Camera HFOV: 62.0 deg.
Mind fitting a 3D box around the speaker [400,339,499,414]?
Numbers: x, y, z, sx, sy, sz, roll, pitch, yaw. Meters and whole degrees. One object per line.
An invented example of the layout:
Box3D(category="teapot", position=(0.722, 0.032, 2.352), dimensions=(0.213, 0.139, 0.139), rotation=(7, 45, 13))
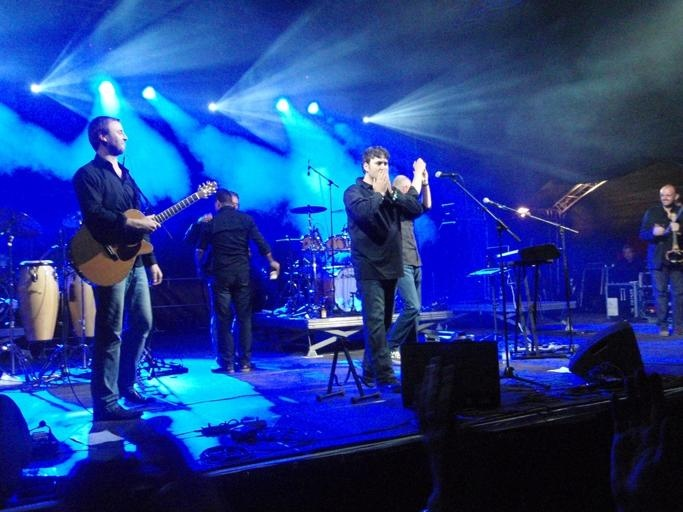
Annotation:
Box3D(category="speaker", position=(0.875, 0.937, 4.684), dimensions=(0.953, 0.669, 0.517), rotation=(2, -7, -9))

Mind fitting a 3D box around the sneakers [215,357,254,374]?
Box3D(category="sneakers", position=(-1.293, 1.328, 6.942), dimensions=(0.499, 0.208, 0.166), rotation=(7, -11, -16))

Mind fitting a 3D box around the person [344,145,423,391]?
Box3D(category="person", position=(0.406, 0.070, 5.592), dimensions=(0.705, 2.084, 0.518), rotation=(-2, 1, -1))

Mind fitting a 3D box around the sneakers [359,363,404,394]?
Box3D(category="sneakers", position=(0.383, 1.223, 5.566), dimensions=(0.480, 0.207, 0.157), rotation=(-6, -9, 31))

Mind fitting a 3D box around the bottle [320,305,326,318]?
Box3D(category="bottle", position=(-0.277, 0.828, 8.629), dimensions=(0.104, 0.170, 0.323), rotation=(-2, 0, -2))

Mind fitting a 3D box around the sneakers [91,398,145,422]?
Box3D(category="sneakers", position=(-1.951, 1.338, 4.981), dimensions=(0.435, 0.170, 0.170), rotation=(-1, -5, -4))

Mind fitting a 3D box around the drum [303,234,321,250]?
Box3D(category="drum", position=(-0.483, -0.221, 9.192), dimensions=(0.262, 0.242, 0.498), rotation=(-3, 0, -25))

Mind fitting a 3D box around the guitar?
Box3D(category="guitar", position=(-1.866, -0.284, 5.423), dimensions=(1.501, 0.568, 0.154), rotation=(-42, 23, -29))

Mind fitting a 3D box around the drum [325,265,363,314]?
Box3D(category="drum", position=(0.039, 0.527, 8.993), dimensions=(0.733, 0.721, 0.639), rotation=(1, -6, -12))
